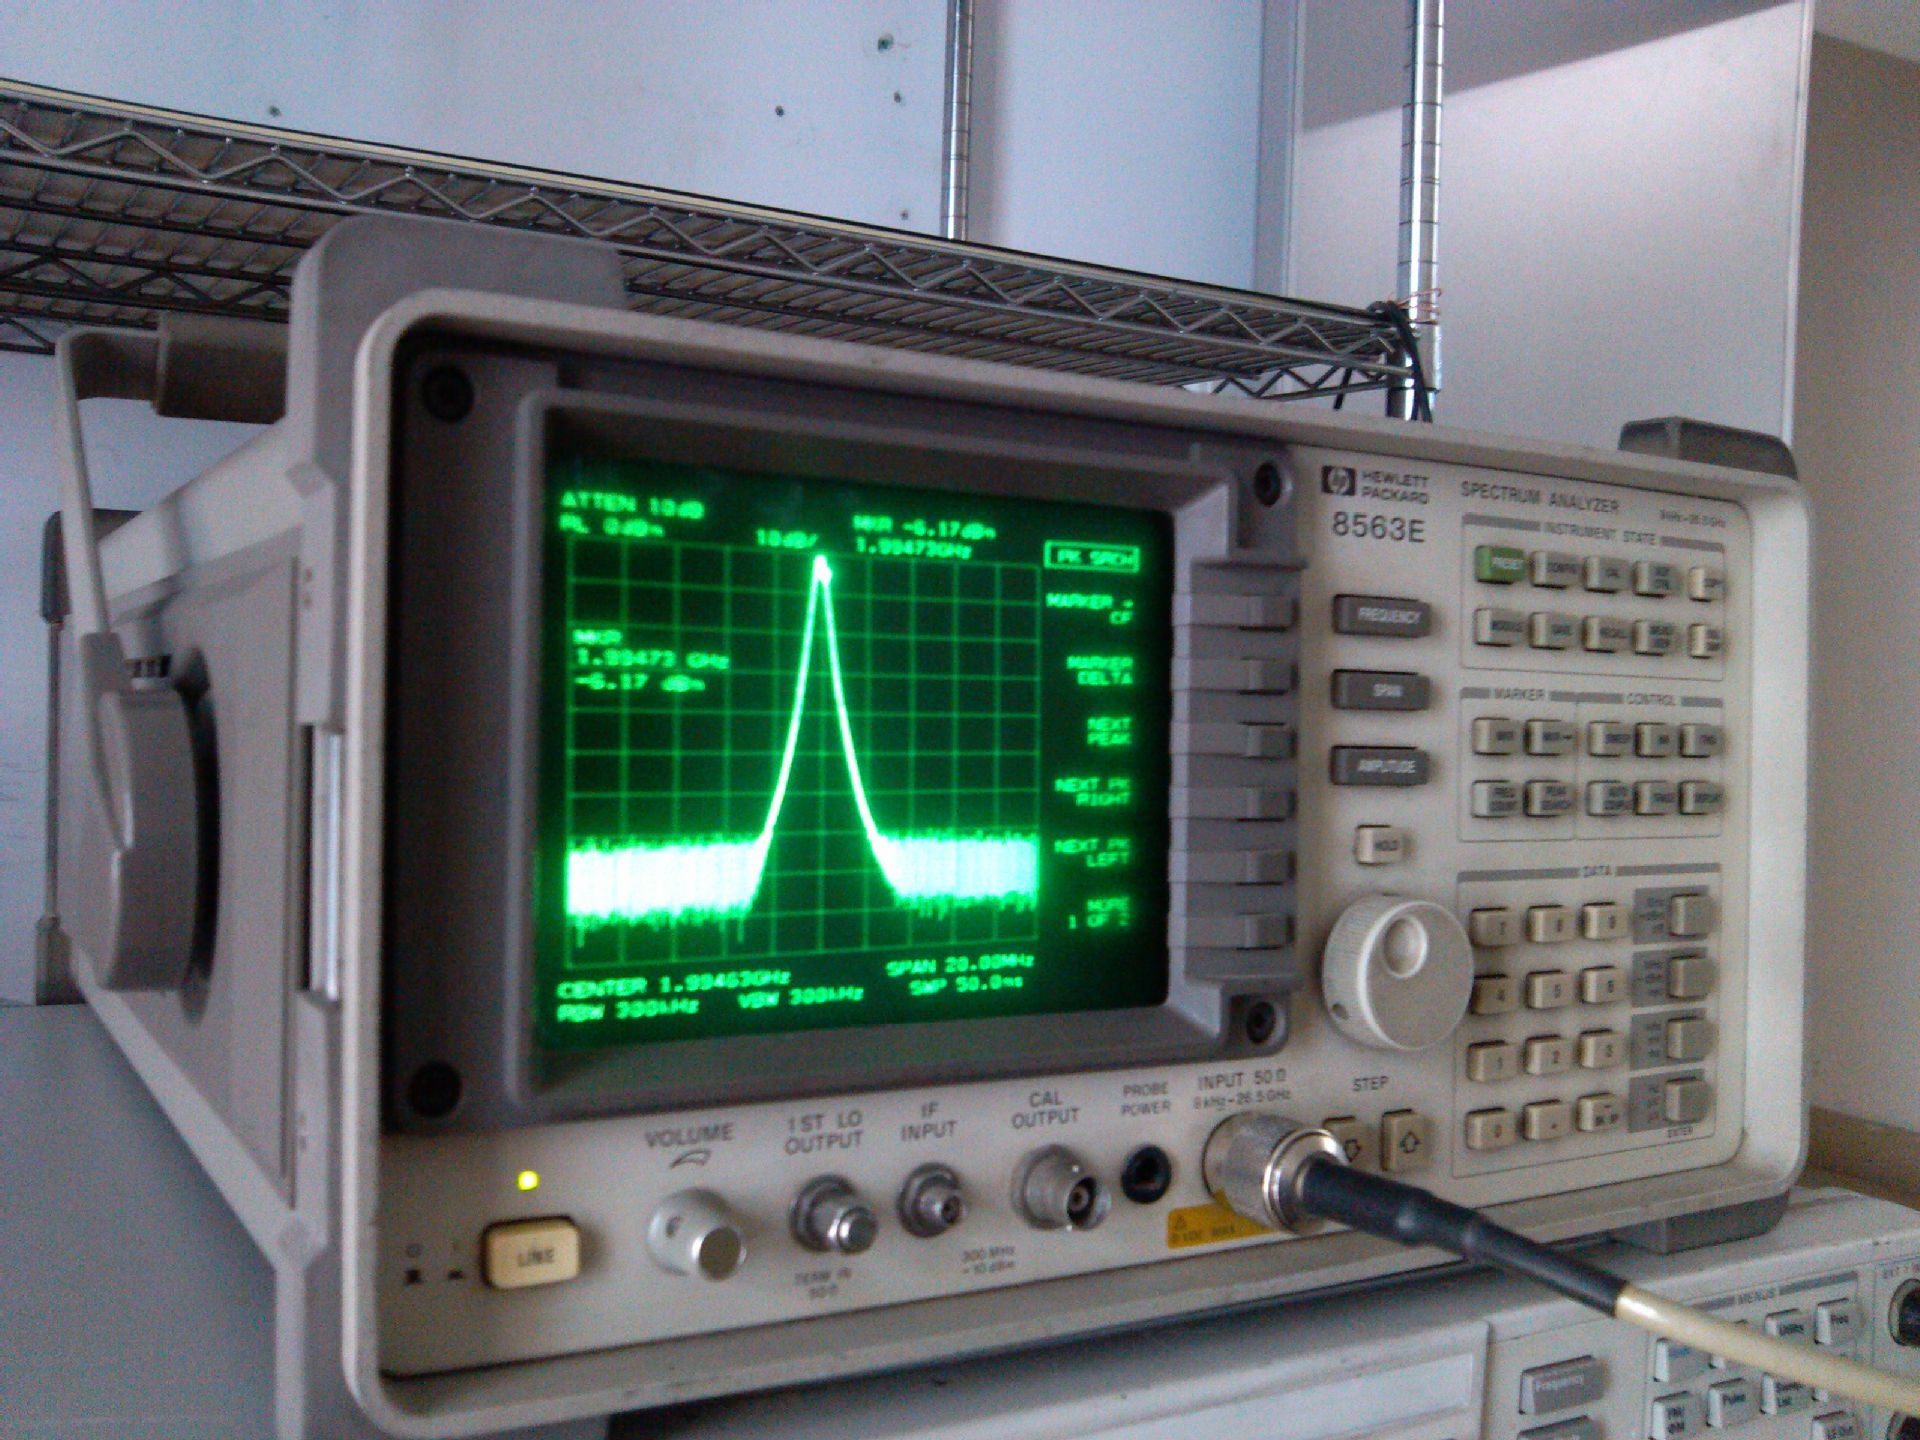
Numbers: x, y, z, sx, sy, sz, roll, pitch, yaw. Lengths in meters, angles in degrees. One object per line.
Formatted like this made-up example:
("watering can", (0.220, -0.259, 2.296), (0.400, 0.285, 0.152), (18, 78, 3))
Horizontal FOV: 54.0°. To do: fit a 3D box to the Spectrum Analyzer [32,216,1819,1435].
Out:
("Spectrum Analyzer", (-0.052, 0.048, 1.081), (0.723, 0.400, 0.832), (3, -4, -33))
